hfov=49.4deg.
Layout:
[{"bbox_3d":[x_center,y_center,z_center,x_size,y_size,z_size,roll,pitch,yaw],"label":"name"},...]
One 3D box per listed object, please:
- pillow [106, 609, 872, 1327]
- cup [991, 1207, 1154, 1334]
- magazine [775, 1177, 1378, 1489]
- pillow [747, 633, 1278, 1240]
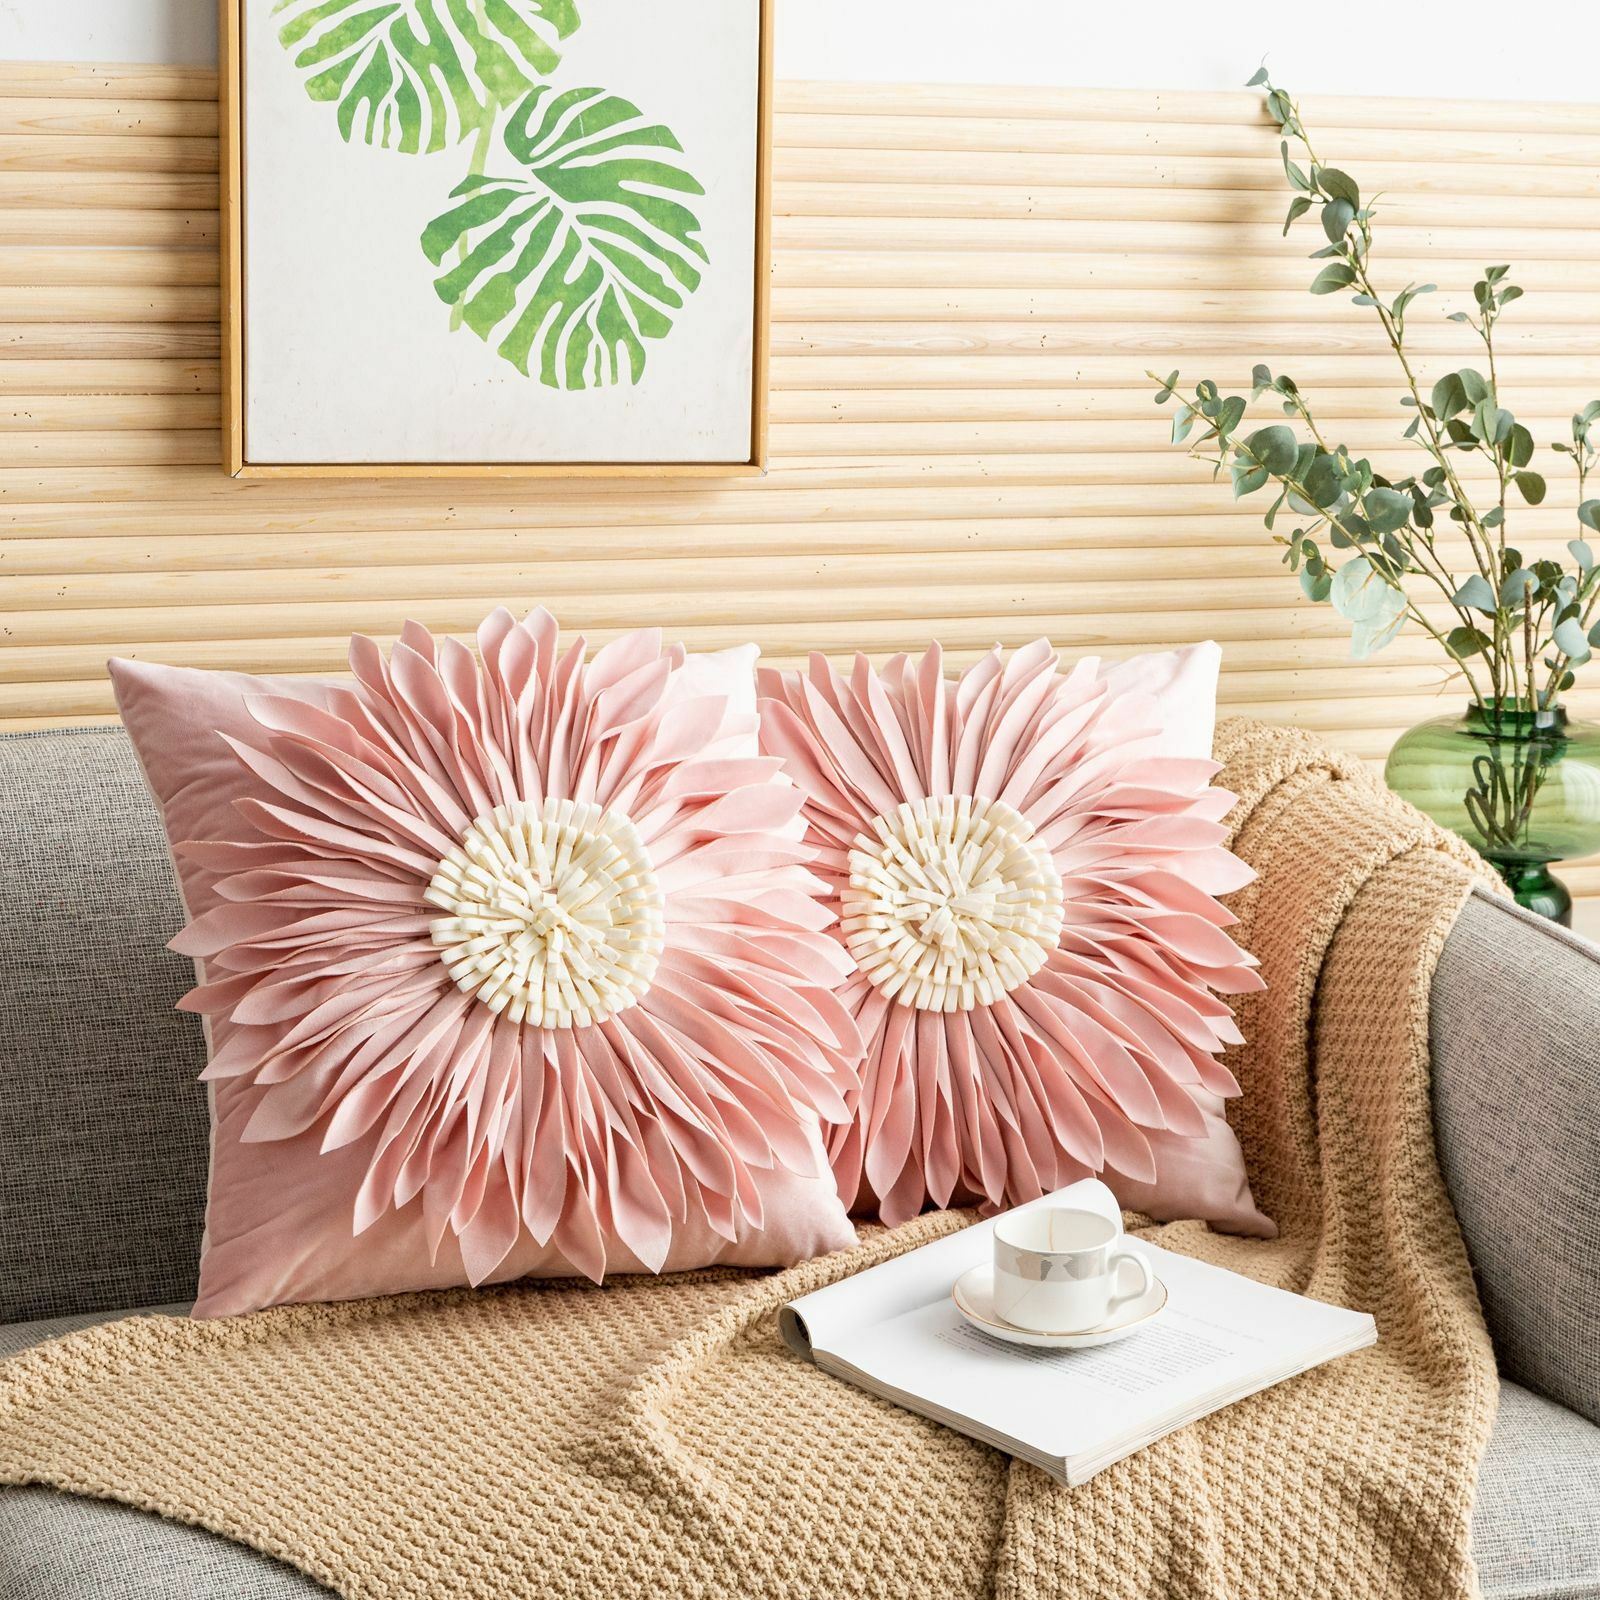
[{"bbox_3d":[-0.280,0.146,1.461,0.708,0.540,0.227,-4,-17,-24],"label":"pillow"},{"bbox_3d":[0.194,0.352,1.290,0.137,0.061,0.091,5,7,18],"label":"cup"},{"bbox_3d":[0.206,0.393,1.317,0.322,0.065,0.278,-8,12,-39],"label":"magazine"},{"bbox_3d":[0.172,0.149,1.674,0.632,0.486,0.182,-4,-12,-12],"label":"pillow"}]
